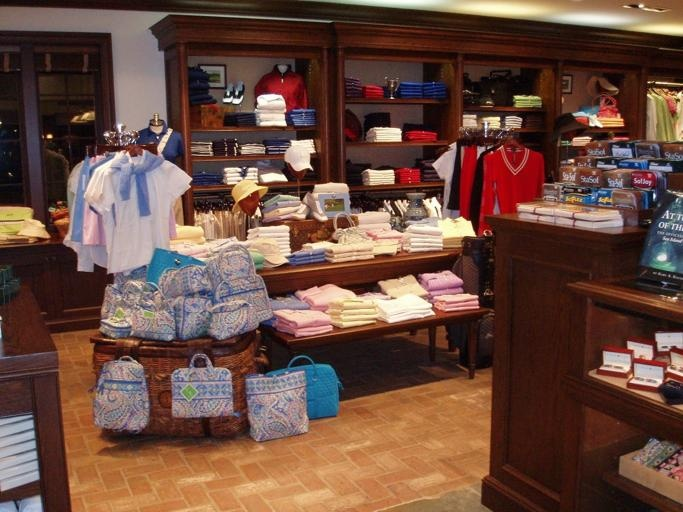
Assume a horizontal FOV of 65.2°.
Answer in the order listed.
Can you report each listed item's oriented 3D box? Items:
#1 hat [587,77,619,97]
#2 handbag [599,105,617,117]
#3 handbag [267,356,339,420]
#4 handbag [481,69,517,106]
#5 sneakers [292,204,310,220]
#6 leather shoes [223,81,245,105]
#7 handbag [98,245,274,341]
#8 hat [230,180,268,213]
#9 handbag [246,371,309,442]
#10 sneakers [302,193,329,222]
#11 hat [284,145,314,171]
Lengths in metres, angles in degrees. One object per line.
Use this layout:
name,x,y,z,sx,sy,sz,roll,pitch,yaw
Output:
hat,4.546,-2.969,9.250,0.450,0.184,0.514,11,1,-7
handbag,4.633,-2.507,9.295,0.313,0.212,0.145,-2,7,-16
handbag,-0.287,1.020,4.042,0.747,0.463,0.262,-2,2,-27
handbag,2.530,-2.683,8.490,0.568,0.527,0.367,7,35,18
sneakers,-0.391,-0.438,5.314,0.115,0.146,0.171,1,13,11
leather shoes,-1.380,-2.063,6.887,0.320,0.318,0.135,1,1,-14
handbag,-1.195,0.262,4.035,1.239,0.409,0.781,-1,3,16
hat,-0.883,-0.559,5.159,0.298,0.329,0.281,-2,14,-2
handbag,-0.468,1.084,3.842,0.637,0.447,0.221,-5,10,-21
sneakers,-0.252,-0.482,5.342,0.220,0.283,0.115,3,16,19
hat,-0.474,-1.055,5.778,0.286,0.174,0.394,-11,24,-29
